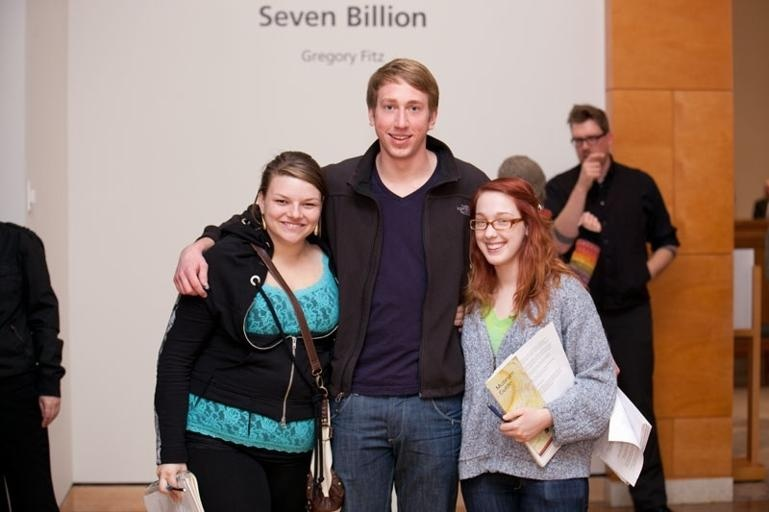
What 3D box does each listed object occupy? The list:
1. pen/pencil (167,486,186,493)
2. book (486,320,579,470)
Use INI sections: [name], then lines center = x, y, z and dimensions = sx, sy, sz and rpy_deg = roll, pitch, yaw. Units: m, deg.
[pen/pencil]
center = -1.007, 1.131, 3.585
dimensions = 0.063, 0.015, 0.020
rpy_deg = 13, 24, 9
[book]
center = 0.722, 0.621, 3.607
dimensions = 0.602, 0.609, 0.156
rpy_deg = -47, 26, -25
